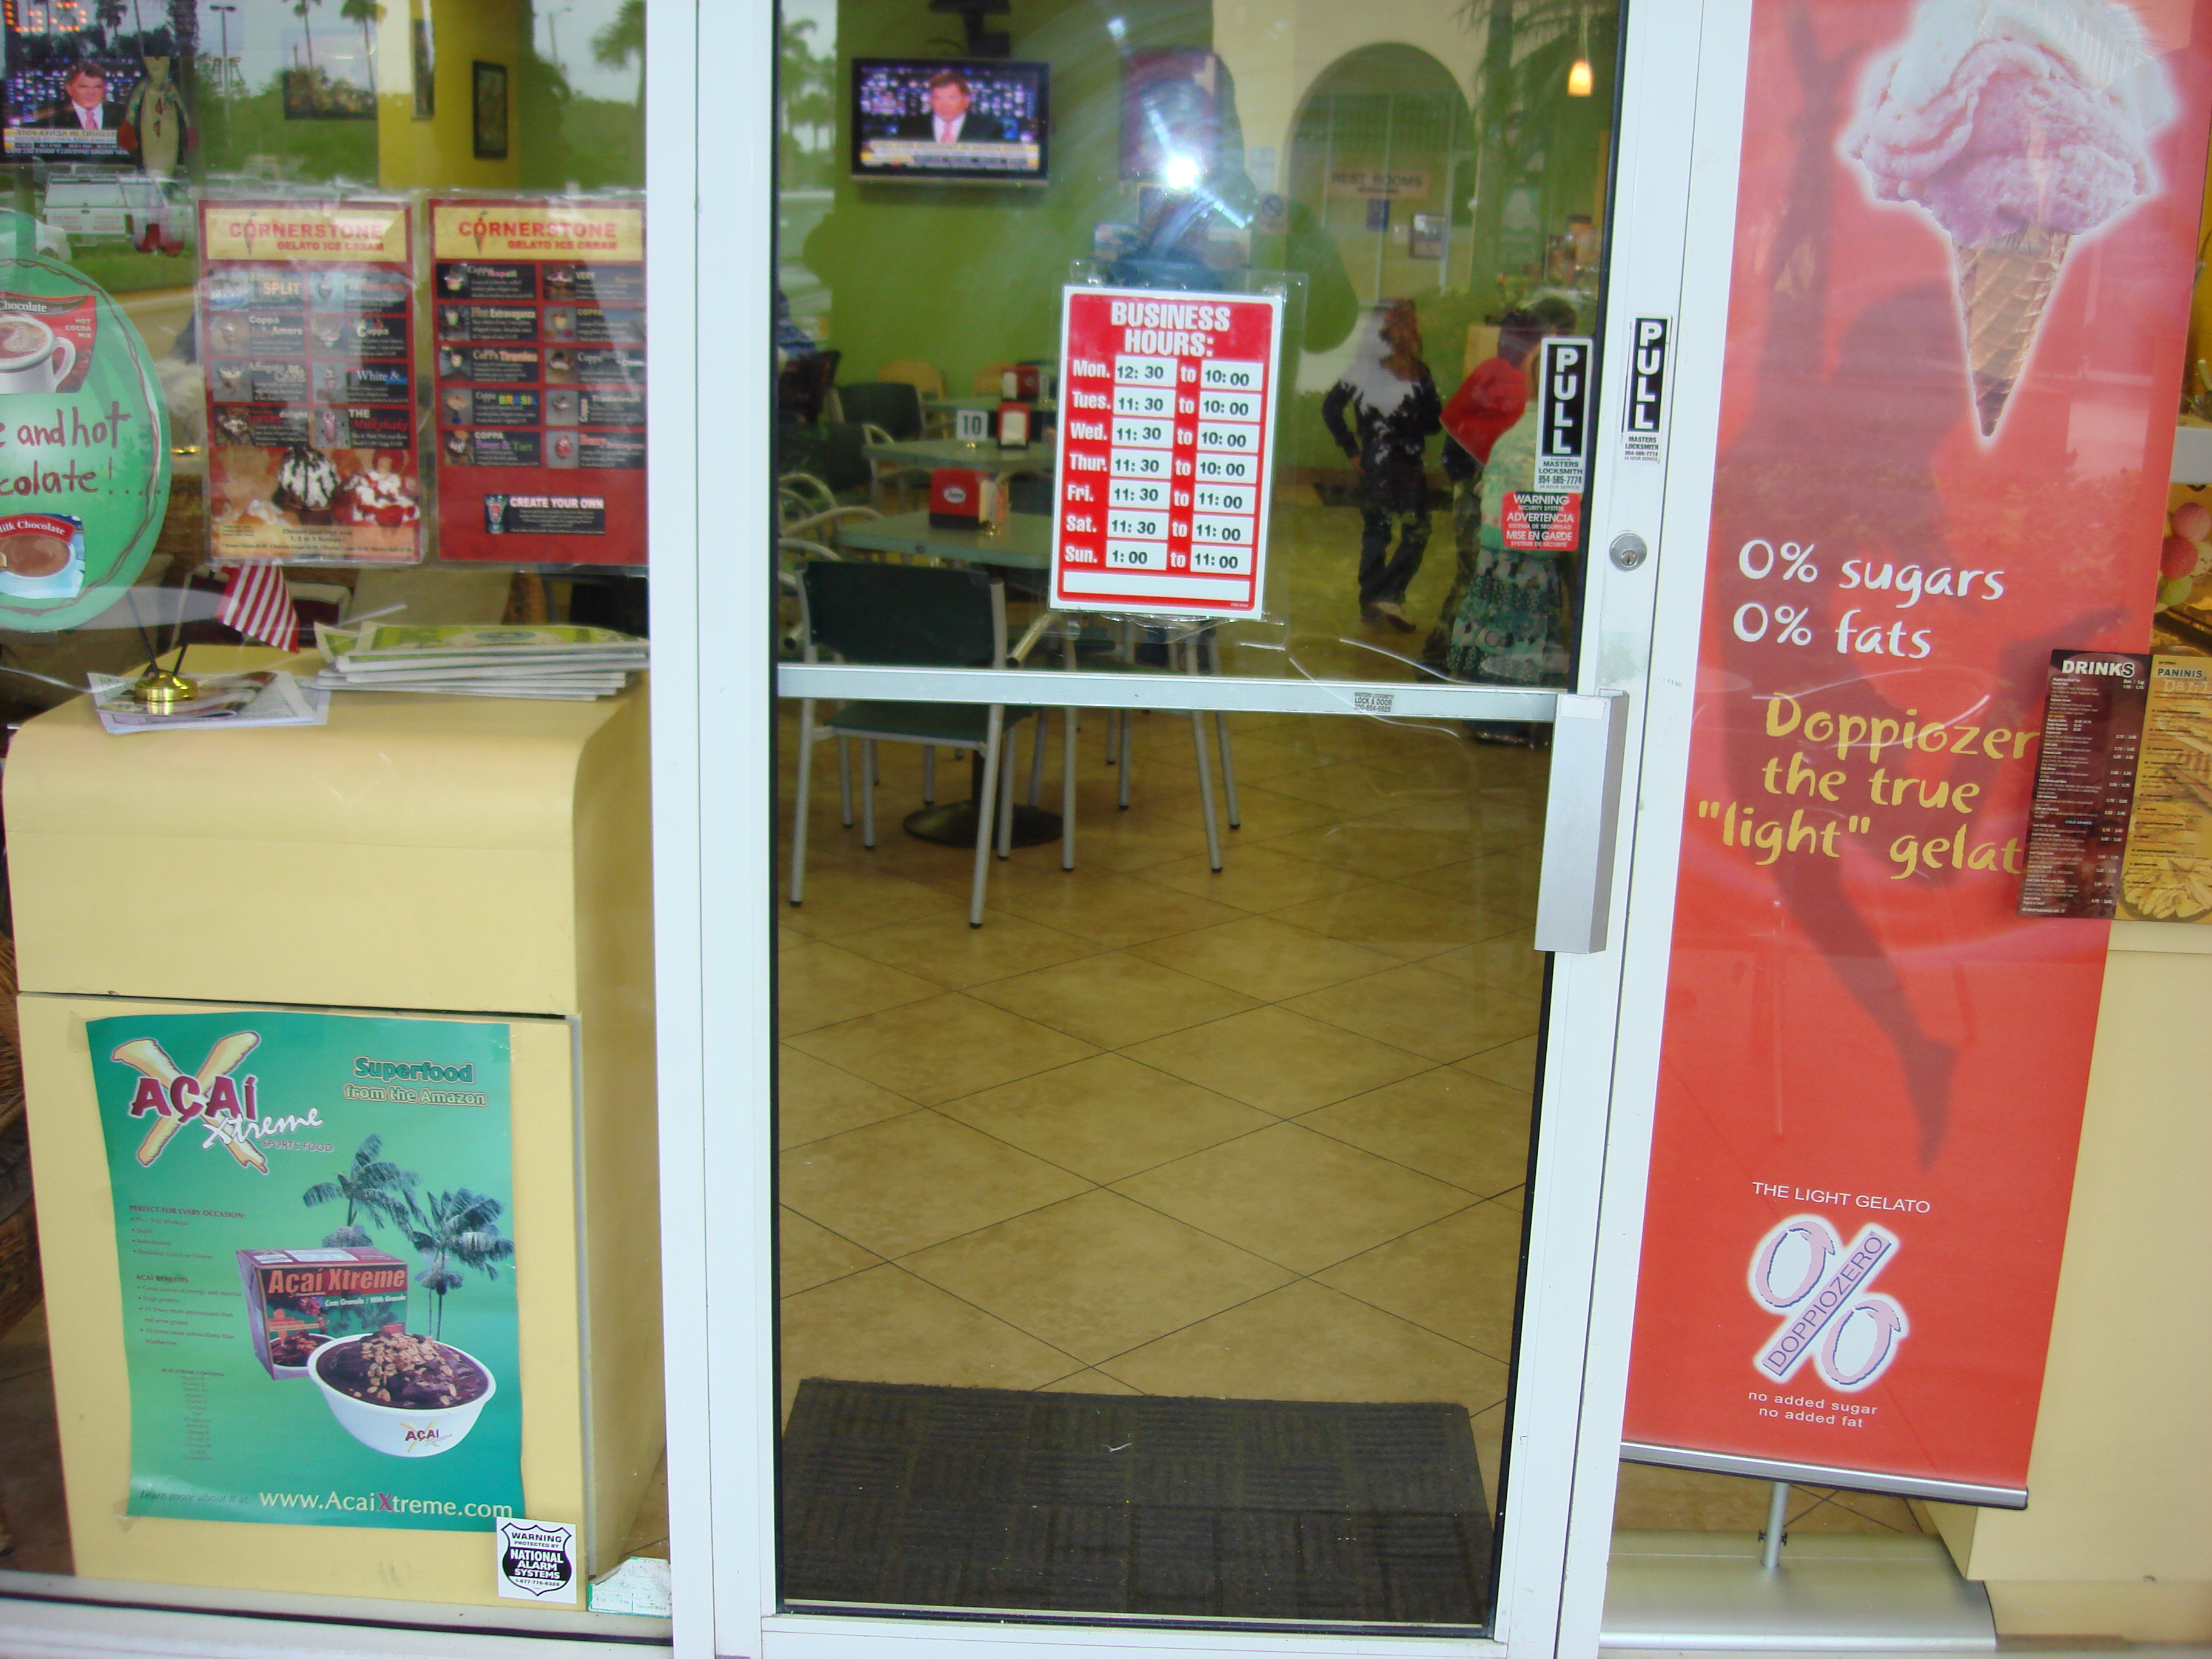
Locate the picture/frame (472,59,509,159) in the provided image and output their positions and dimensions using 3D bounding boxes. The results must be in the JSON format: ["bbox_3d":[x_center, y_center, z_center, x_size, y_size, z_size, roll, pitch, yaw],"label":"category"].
[{"bbox_3d":[-0.747,-0.887,2.327,0.049,0.114,0.024,-1,12,-4],"label":"picture/frame"}]

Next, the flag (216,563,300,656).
[{"bbox_3d":[-1.089,-0.292,2.450,0.114,0.114,0.009,11,24,-20],"label":"flag"}]
